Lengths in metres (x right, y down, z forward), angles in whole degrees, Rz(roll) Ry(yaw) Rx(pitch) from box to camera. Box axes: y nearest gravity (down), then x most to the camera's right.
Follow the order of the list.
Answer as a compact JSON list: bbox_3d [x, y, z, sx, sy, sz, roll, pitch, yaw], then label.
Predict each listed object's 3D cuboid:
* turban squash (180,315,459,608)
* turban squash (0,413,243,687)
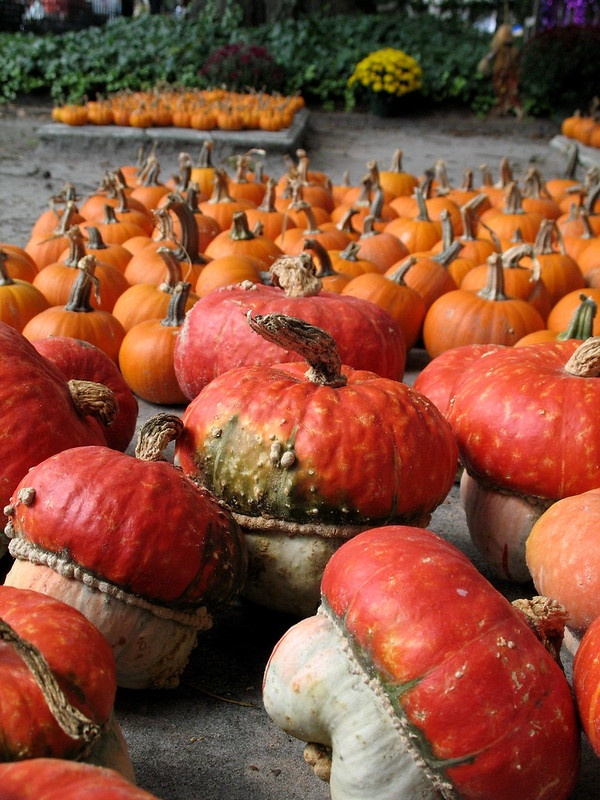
[{"bbox_3d":[-0.043,0.131,2.171,0.880,0.755,0.828,8,11,17],"label":"turban squash"},{"bbox_3d":[-0.512,0.373,1.762,0.620,0.564,0.558,16,-11,-38],"label":"turban squash"}]
